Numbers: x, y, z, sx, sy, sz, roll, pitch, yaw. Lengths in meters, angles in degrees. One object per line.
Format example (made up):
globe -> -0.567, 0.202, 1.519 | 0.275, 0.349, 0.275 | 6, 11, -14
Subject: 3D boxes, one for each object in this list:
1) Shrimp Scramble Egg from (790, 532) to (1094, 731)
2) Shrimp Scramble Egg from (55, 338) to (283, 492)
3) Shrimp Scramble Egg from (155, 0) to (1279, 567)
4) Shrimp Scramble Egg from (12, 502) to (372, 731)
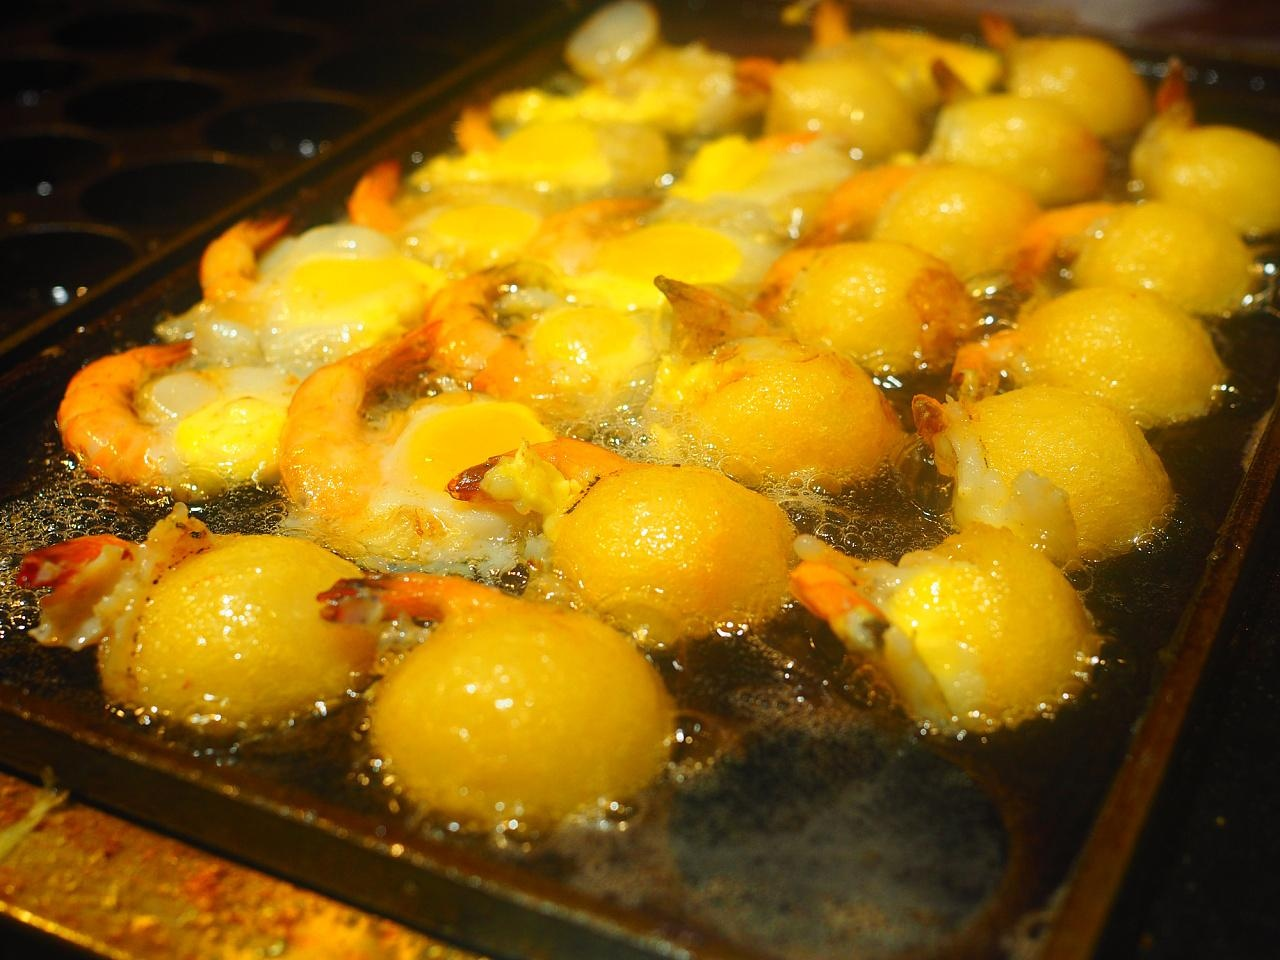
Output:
Shrimp Scramble Egg -> 0.292, 0.126, 1.274 | 0.304, 0.093, 0.212 | 4, 50, -3
Shrimp Scramble Egg -> -0.509, -0.055, 1.483 | 0.206, 0.054, 0.174 | 16, 44, 25
Shrimp Scramble Egg -> 0.104, -0.262, 1.662 | 1.098, 0.159, 0.791 | -29, 48, -29
Shrimp Scramble Egg -> -0.402, 0.124, 1.297 | 0.361, 0.111, 0.212 | 3, 51, -3
